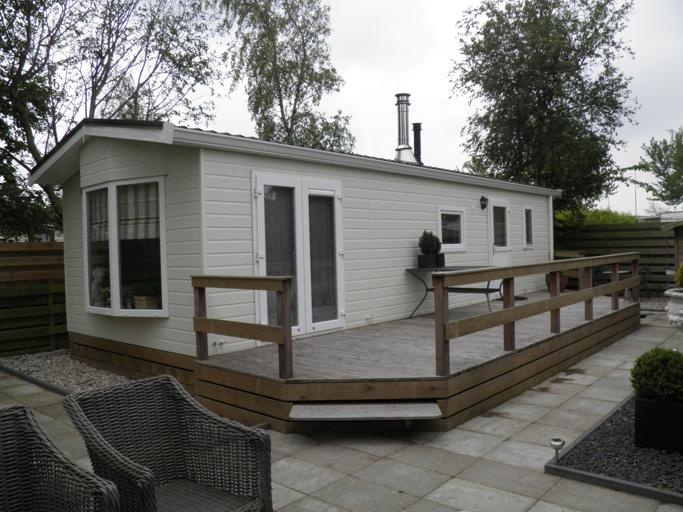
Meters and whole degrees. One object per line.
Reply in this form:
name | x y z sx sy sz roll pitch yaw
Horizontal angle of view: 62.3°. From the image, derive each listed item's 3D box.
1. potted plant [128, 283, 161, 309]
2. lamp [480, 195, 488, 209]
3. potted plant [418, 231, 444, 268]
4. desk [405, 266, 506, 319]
potted plant | -2.546 0.494 7.364 0.353 0.226 0.357 -2 -1 29
lamp | 2.827 -1.074 11.218 0.171 0.235 0.247 -1 -2 17
potted plant | 1.498 -0.132 9.511 0.410 0.635 0.456 -5 -2 19
desk | 1.826 0.458 9.379 1.424 0.651 0.798 13 13 1
